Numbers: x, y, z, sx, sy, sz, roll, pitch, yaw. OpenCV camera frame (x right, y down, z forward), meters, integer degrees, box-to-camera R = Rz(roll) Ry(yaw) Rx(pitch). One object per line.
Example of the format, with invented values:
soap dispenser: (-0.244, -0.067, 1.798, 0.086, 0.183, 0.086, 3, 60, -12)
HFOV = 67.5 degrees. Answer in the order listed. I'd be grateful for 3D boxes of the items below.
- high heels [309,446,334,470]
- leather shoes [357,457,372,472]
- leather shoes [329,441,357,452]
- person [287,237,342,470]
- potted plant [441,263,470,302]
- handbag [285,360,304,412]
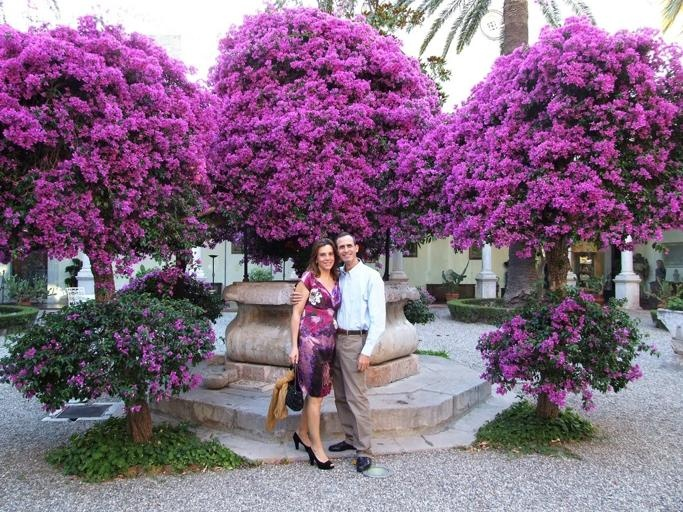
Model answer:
high heels: (-0.194, 1.723, 4.400, 0.281, 0.151, 0.098, -2, -7, 45)
leather shoes: (0.187, 1.731, 4.299, 0.131, 0.115, 0.092, 0, 3, 0)
leather shoes: (0.009, 1.696, 4.619, 0.240, 0.107, 0.094, 5, -9, -9)
person: (-0.226, 0.816, 4.440, 0.430, 1.922, 0.408, 0, 4, -1)
potted plant: (4.111, 0.888, 18.723, 1.042, 1.539, 0.950, 9, 14, 39)
handbag: (-0.408, 1.121, 4.390, 0.156, 0.418, 0.120, 0, 4, -5)
